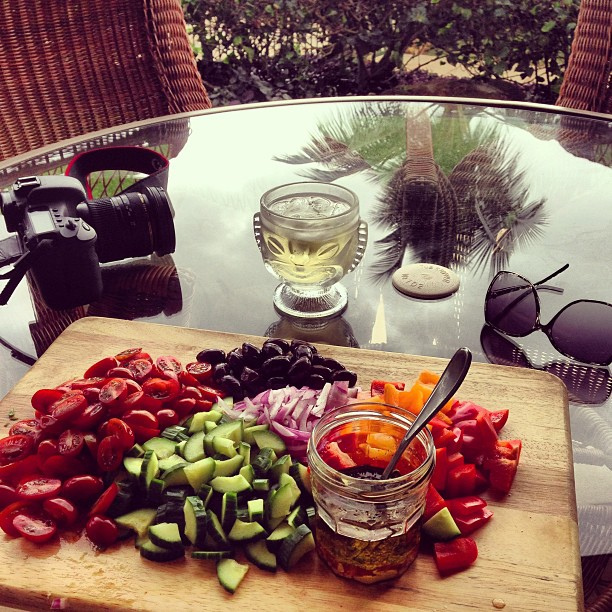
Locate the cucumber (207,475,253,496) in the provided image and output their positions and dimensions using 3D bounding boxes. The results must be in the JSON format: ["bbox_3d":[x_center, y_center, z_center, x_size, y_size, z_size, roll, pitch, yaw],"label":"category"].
[{"bbox_3d":[-0.132,0.312,0.991,0.050,0.011,0.040,11,23,10],"label":"cucumber"}]

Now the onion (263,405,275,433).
[{"bbox_3d":[-0.077,0.227,1.134,0.017,0.051,0.012,-22,-13,11],"label":"onion"}]

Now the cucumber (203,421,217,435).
[{"bbox_3d":[-0.189,0.238,1.118,0.022,0.015,0.025,-5,39,-7],"label":"cucumber"}]

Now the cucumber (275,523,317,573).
[{"bbox_3d":[-0.018,0.386,0.911,0.029,0.059,0.067,21,-13,-12],"label":"cucumber"}]

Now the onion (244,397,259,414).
[{"bbox_3d":[-0.115,0.206,1.174,0.011,0.030,0.023,-39,9,-13],"label":"onion"}]

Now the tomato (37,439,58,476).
[{"bbox_3d":[-0.482,0.280,1.049,0.053,0.051,0.035,-2,1,20],"label":"tomato"}]

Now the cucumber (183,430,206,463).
[{"bbox_3d":[-0.206,0.261,1.079,0.044,0.013,0.058,-8,27,3],"label":"cucumber"}]

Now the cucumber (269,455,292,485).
[{"bbox_3d":[-0.048,0.294,1.016,0.027,0.028,0.044,24,48,27],"label":"cucumber"}]

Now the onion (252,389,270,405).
[{"bbox_3d":[-0.101,0.192,1.204,0.021,0.021,0.028,27,84,54],"label":"onion"}]

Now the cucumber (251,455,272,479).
[{"bbox_3d":[-0.080,0.287,1.015,0.033,0.039,0.032,29,44,-24],"label":"cucumber"}]

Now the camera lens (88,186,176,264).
[{"bbox_3d":[-0.499,-0.227,1.617,0.310,0.137,0.173,-10,18,-21],"label":"camera lens"}]

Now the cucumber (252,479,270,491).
[{"bbox_3d":[-0.078,0.309,0.987,0.027,0.015,0.016,5,42,5],"label":"cucumber"}]

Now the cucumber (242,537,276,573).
[{"bbox_3d":[-0.076,0.406,0.923,0.073,0.014,0.043,21,34,39],"label":"cucumber"}]

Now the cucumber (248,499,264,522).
[{"bbox_3d":[-0.085,0.340,0.952,0.033,0.030,0.051,-1,17,-2],"label":"cucumber"}]

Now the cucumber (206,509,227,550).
[{"bbox_3d":[-0.150,0.366,0.933,0.017,0.047,0.048,-18,4,10],"label":"cucumber"}]

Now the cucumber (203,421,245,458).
[{"bbox_3d":[-0.161,0.253,1.090,0.071,0.020,0.056,-4,26,-1],"label":"cucumber"}]

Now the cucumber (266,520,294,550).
[{"bbox_3d":[-0.043,0.377,0.935,0.044,0.011,0.044,-37,30,-31],"label":"cucumber"}]

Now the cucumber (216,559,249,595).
[{"bbox_3d":[-0.125,0.422,0.895,0.050,0.017,0.056,8,32,18],"label":"cucumber"}]

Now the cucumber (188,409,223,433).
[{"bbox_3d":[-0.208,0.233,1.151,0.067,0.016,0.043,-31,65,-7],"label":"cucumber"}]

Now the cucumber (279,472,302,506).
[{"bbox_3d":[-0.025,0.320,0.986,0.015,0.045,0.049,-28,8,7],"label":"cucumber"}]

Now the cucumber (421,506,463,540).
[{"bbox_3d":[0.224,0.356,0.942,0.074,0.041,0.022,9,-7,17],"label":"cucumber"}]

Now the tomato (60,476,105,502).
[{"bbox_3d":[-0.398,0.323,1.005,0.076,0.037,0.037,0,60,-3],"label":"tomato"}]

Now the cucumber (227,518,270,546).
[{"bbox_3d":[-0.100,0.374,0.940,0.062,0.020,0.037,6,51,2],"label":"cucumber"}]

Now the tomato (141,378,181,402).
[{"bbox_3d":[-0.300,0.174,1.193,0.064,0.021,0.057,-4,20,-20],"label":"tomato"}]

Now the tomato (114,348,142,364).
[{"bbox_3d":[-0.424,0.114,1.346,0.045,0.013,0.038,-22,23,-29],"label":"tomato"}]

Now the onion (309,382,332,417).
[{"bbox_3d":[0.030,0.194,1.166,0.031,0.016,0.071,10,37,20],"label":"onion"}]

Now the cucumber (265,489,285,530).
[{"bbox_3d":[-0.057,0.348,0.957,0.020,0.048,0.056,-3,26,14],"label":"cucumber"}]

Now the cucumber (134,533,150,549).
[{"bbox_3d":[-0.273,0.390,0.947,0.025,0.007,0.022,-4,33,20],"label":"cucumber"}]

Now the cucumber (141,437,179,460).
[{"bbox_3d":[-0.288,0.275,1.097,0.040,0.009,0.040,24,24,34],"label":"cucumber"}]

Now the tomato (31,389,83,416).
[{"bbox_3d":[-0.512,0.198,1.152,0.092,0.023,0.066,0,20,6],"label":"tomato"}]

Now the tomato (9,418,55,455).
[{"bbox_3d":[-0.541,0.248,1.117,0.087,0.020,0.067,5,33,-1],"label":"tomato"}]

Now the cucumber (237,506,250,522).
[{"bbox_3d":[-0.110,0.350,0.953,0.026,0.018,0.006,-1,-10,5],"label":"cucumber"}]

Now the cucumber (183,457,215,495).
[{"bbox_3d":[-0.193,0.303,1.023,0.063,0.055,0.023,20,5,-31],"label":"cucumber"}]

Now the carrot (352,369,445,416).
[{"bbox_3d":[0.216,0.175,1.170,0.139,0.036,0.131,-4,5,0],"label":"carrot"}]

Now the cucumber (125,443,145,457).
[{"bbox_3d":[-0.323,0.270,1.064,0.027,0.007,0.023,-37,47,-1],"label":"cucumber"}]
